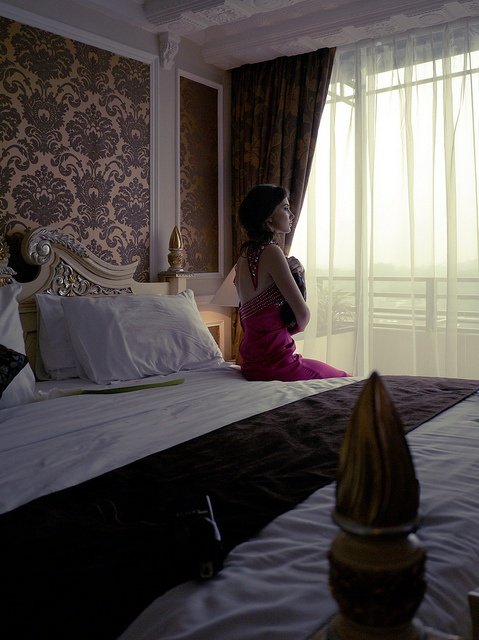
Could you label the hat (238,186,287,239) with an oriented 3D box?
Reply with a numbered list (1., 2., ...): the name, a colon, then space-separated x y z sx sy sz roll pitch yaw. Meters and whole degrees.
1. hat: 0.124 -0.598 2.576 0.206 0.322 0.228 0 0 24
